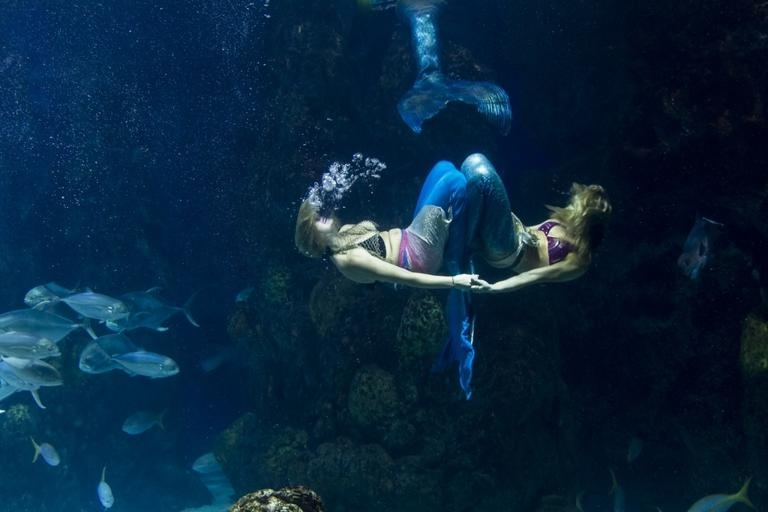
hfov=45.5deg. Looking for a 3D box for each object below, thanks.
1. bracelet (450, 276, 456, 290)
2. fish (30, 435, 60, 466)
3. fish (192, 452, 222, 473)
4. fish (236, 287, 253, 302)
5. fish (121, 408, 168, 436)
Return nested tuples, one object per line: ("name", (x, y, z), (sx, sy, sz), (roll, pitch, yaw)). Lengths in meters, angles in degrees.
("bracelet", (0.962, 0.354, 12.734), (0.047, 0.129, 0.092), (6, 0, 44))
("fish", (-5.896, 3.375, 15.945), (0.479, 0.541, 1.427), (-1, -13, -22))
("fish", (-2.969, 3.434, 15.236), (0.591, 0.329, 0.130), (-15, -14, 34))
("fish", (-2.209, 0.597, 14.456), (0.337, 0.195, 0.086), (-13, -13, 26))
("fish", (-4.096, 2.819, 15.669), (0.686, 0.363, 0.521), (-4, -12, -11))
